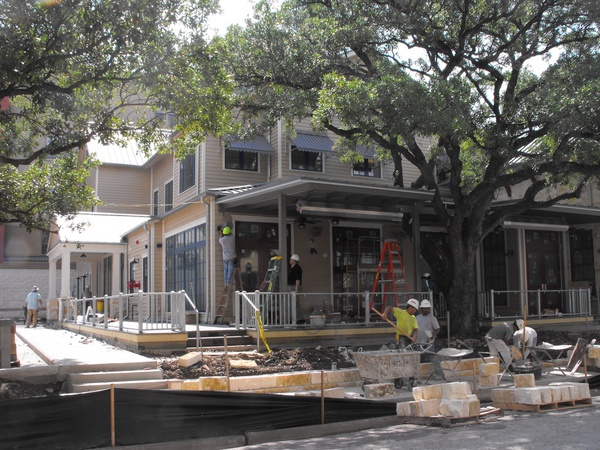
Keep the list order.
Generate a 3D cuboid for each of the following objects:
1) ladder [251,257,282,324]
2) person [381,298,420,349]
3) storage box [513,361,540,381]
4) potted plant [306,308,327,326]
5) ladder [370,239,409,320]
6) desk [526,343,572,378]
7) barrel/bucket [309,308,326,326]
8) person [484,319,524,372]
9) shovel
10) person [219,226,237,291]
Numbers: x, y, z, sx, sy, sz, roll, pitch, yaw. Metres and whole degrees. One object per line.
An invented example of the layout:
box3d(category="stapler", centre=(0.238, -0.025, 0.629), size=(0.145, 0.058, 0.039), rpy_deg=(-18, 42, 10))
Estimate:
box3d(category="ladder", centre=(-0.883, 2.078, 19.127), size=(0.636, 2.156, 0.785), rpy_deg=(2, -2, -21))
box3d(category="person", centre=(2.650, 2.449, 15.598), size=(0.615, 1.168, 0.642), rpy_deg=(-2, -8, 6))
box3d(category="storage box", centre=(6.035, 3.788, 16.525), size=(0.689, 0.376, 0.729), rpy_deg=(4, -7, -28))
box3d(category="potted plant", centre=(0.563, 2.828, 19.009), size=(0.462, 0.473, 0.386), rpy_deg=(5, -10, -27))
box3d(category="ladder", centre=(3.101, 1.771, 21.531), size=(0.847, 3.494, 1.089), rpy_deg=(1, -1, -9))
box3d(category="desk", centre=(6.959, 3.793, 17.505), size=(0.908, 1.015, 0.999), rpy_deg=(4, -3, -16))
box3d(category="barrel/bucket", centre=(0.549, 2.825, 19.004), size=(0.450, 0.441, 0.380), rpy_deg=(9, -14, -38))
box3d(category="person", centre=(5.368, 3.118, 16.655), size=(0.832, 1.446, 0.865), rpy_deg=(-1, -1, -8))
box3d(category="shovel", centre=(2.838, 2.586, 15.776), size=(0.928, 2.245, 0.914), rpy_deg=(4, -8, -35))
box3d(category="person", centre=(-2.372, 1.033, 20.334), size=(0.517, 2.014, 0.853), rpy_deg=(0, -8, -7))
